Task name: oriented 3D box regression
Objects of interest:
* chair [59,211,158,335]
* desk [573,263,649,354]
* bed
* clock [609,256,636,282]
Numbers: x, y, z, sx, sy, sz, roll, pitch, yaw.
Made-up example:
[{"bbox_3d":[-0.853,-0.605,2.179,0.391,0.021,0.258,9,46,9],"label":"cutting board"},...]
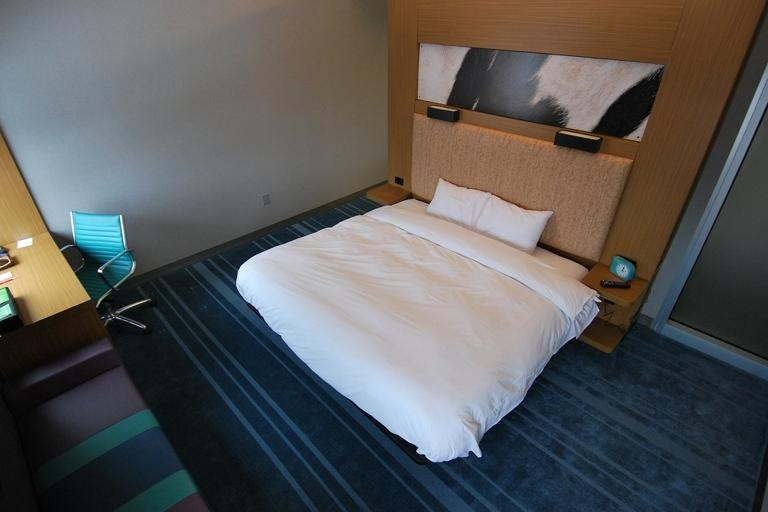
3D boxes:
[{"bbox_3d":[-2.959,0.249,4.586,0.750,1.144,0.753,3,36,0],"label":"chair"},{"bbox_3d":[2.189,0.496,4.370,0.445,0.663,0.515,32,54,33],"label":"desk"},{"bbox_3d":[0.404,-0.119,4.486,3.286,1.959,3.501,-17,35,-26],"label":"bed"},{"bbox_3d":[2.283,0.118,4.312,0.055,0.232,0.230,4,22,-29],"label":"clock"}]
